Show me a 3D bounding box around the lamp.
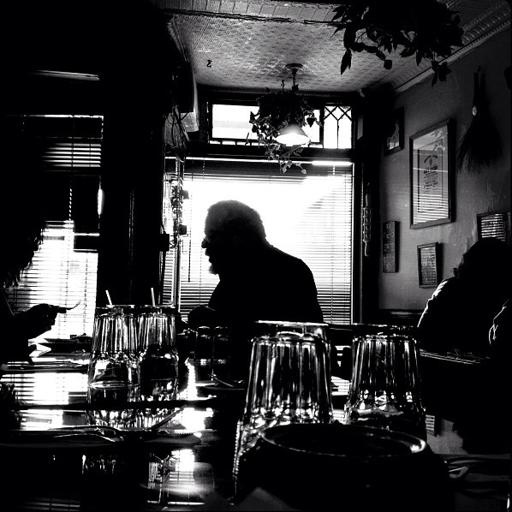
[{"bbox_3d":[0.302,-1.224,5.204,0.153,0.211,0.423,11,-27,15],"label":"lamp"}]

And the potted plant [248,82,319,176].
[{"bbox_3d":[0.186,-0.901,4.550,0.405,0.384,0.465,1,41,13],"label":"potted plant"}]

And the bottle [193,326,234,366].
[{"bbox_3d":[-0.138,0.277,2.193,0.111,0.136,0.220,3,0,-1],"label":"bottle"}]

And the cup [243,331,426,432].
[{"bbox_3d":[0.107,0.163,0.871,0.106,0.135,0.308,-3,-7,38],"label":"cup"}]

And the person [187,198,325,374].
[{"bbox_3d":[0.008,0.297,3.411,0.660,1.148,0.503,-1,0,35],"label":"person"}]

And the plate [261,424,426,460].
[{"bbox_3d":[0.077,0.168,0.629,0.147,0.024,0.104,0,-6,15],"label":"plate"}]
